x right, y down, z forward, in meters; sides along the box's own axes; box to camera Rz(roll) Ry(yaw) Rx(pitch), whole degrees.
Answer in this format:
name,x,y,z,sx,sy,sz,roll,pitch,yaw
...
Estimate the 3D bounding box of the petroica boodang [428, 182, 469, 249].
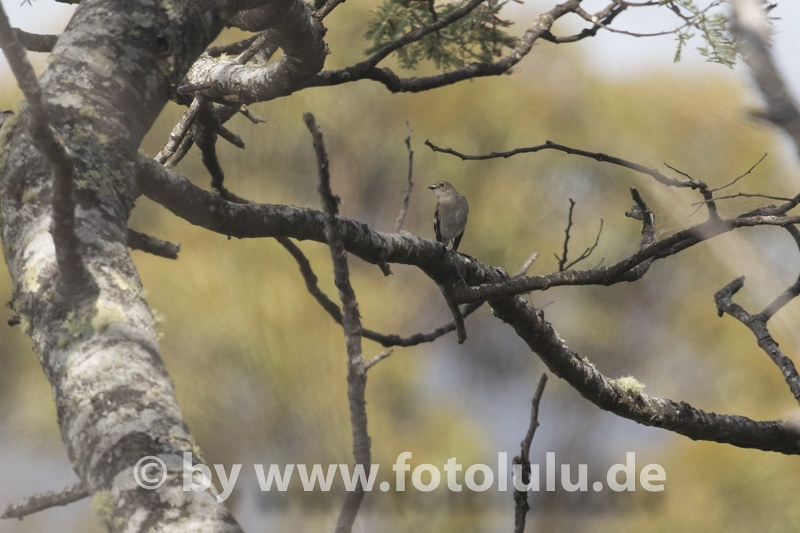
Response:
name,x,y,z,sx,sy,sz,roll,pitch,yaw
petroica boodang,0.539,-0.482,14.091,0.348,0.821,0.714,-11,81,12
